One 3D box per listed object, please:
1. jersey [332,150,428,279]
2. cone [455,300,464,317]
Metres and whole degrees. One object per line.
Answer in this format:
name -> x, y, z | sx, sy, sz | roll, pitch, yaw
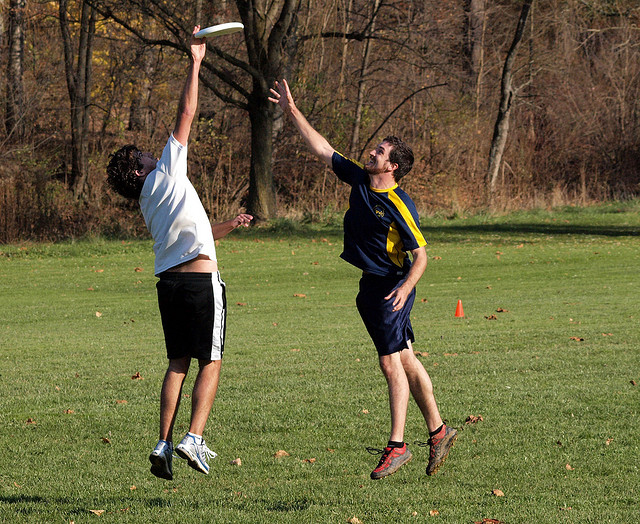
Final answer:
jersey -> 0.838, -0.927, 20.910 | 2.176, 1.802, 0.962 | 23, 29, 26
cone -> 2.911, 0.996, 25.649 | 0.250, 0.385, 0.259 | 0, 2, 19
